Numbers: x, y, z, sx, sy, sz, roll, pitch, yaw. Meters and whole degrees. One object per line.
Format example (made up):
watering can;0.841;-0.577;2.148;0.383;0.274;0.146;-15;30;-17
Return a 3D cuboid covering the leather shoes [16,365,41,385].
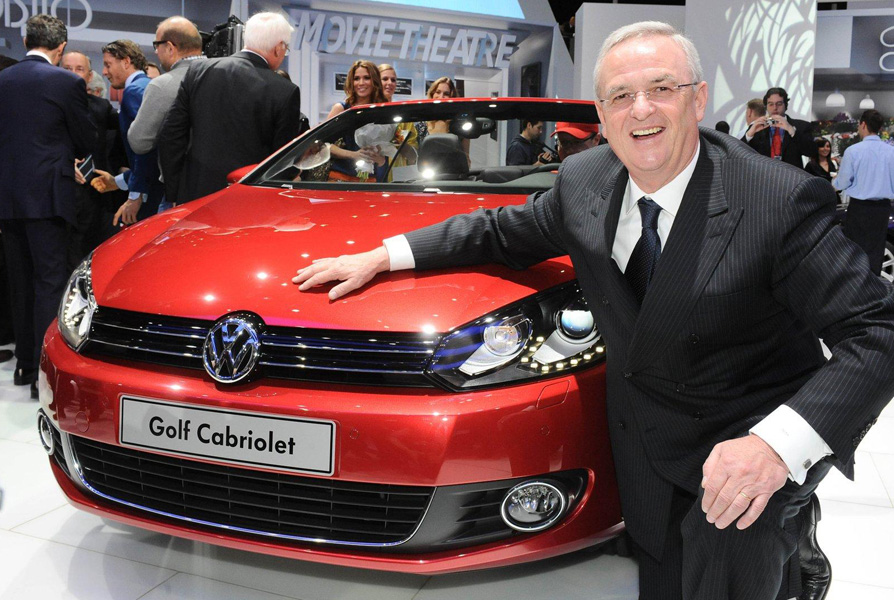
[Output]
leather shoes;-2.508;0.447;3.727;0.132;0.119;0.180;1;-6;-6

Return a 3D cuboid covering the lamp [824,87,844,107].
lamp;7.053;-3.622;11.313;0.263;0.263;0.271;7;15;31

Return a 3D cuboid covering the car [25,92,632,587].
car;-0.054;-0.041;2.641;1.224;0.864;2.199;3;8;21

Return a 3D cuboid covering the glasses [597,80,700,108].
glasses;0.512;-0.504;1.557;0.219;0.075;0.070;5;12;15
